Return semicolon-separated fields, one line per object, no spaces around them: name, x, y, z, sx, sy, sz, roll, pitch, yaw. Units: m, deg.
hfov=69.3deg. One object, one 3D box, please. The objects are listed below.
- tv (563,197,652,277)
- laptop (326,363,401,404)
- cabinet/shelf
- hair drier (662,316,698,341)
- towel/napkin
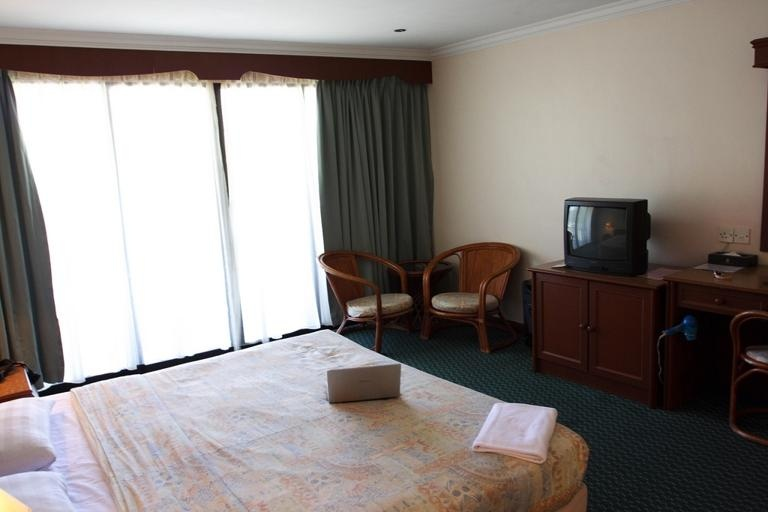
tv;1.914;-0.163;4.973;0.859;0.807;0.638;2;4;44
laptop;-0.123;0.844;3.645;0.404;0.235;0.278;-1;7;-9
cabinet/shelf;1.889;0.666;4.637;0.498;0.964;1.168;-6;7;-39
hair drier;2.305;0.545;4.314;0.278;0.168;0.154;-11;8;-15
towel/napkin;0.788;1.061;3.316;0.397;0.184;0.463;2;13;25
